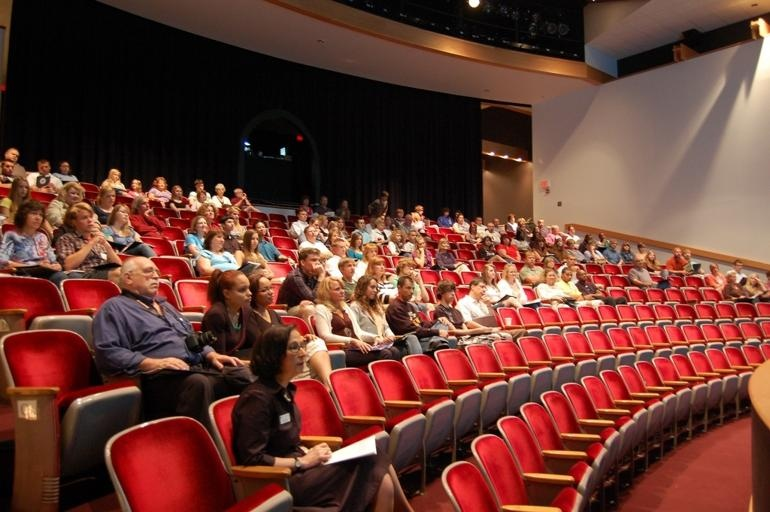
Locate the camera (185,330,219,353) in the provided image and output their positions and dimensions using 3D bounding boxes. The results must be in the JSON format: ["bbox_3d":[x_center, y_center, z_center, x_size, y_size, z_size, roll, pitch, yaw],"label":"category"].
[{"bbox_3d":[-1.099,0.507,3.165,0.141,0.096,0.138,-14,-5,3],"label":"camera"}]

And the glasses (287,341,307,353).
[{"bbox_3d":[-0.466,0.479,2.800,0.088,0.042,0.033,0,6,-35],"label":"glasses"}]

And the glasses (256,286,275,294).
[{"bbox_3d":[-0.824,0.241,3.704,0.066,0.049,0.147,7,6,35],"label":"glasses"}]
